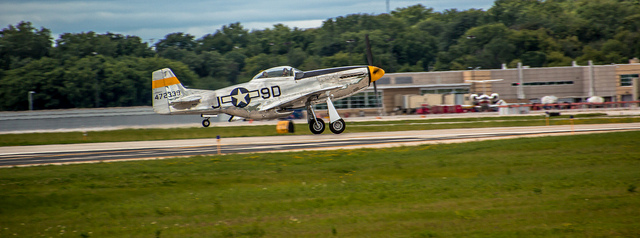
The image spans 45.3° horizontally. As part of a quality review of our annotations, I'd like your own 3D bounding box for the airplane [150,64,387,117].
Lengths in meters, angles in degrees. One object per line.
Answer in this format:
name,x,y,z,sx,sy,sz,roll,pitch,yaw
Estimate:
airplane,-13.546,-6.123,176.490,48.545,11.043,4.425,-2,4,2
